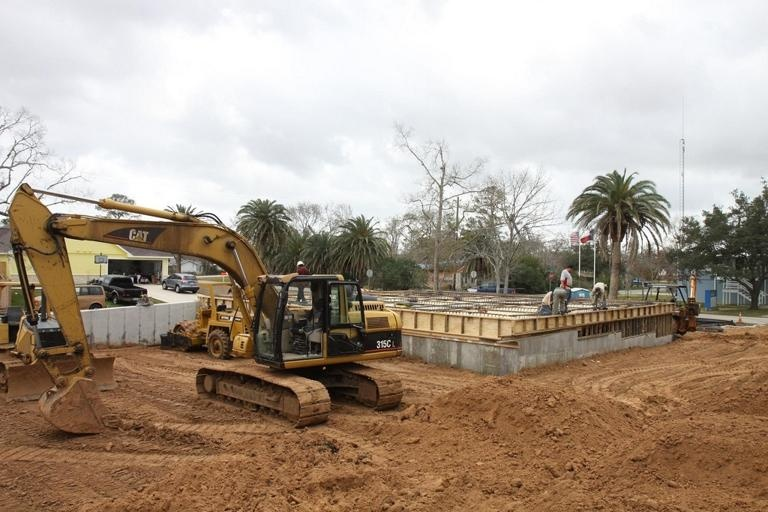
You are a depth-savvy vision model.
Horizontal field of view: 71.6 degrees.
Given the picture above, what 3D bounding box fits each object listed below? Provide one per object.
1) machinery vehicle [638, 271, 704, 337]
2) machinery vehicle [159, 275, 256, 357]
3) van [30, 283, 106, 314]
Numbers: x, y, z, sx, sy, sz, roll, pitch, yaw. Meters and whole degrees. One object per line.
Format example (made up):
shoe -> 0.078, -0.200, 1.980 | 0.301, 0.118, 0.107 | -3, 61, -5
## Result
machinery vehicle -> 14.026, 2.469, 26.203 | 1.894, 2.207, 3.426 | -3, -2, -24
machinery vehicle -> -5.963, 2.054, 18.702 | 3.614, 2.108, 2.149 | -3, 9, 35
van -> -9.090, 1.256, 15.315 | 2.230, 1.097, 1.210 | 5, -6, -28
